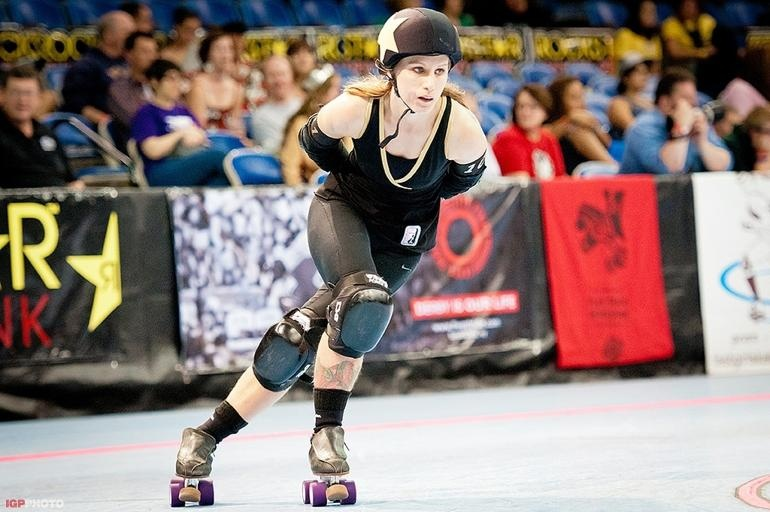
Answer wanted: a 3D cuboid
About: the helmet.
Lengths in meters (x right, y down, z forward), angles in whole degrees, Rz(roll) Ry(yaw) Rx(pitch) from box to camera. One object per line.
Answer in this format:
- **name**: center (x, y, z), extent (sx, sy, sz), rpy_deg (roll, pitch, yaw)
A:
- **helmet**: center (0.198, -1.367, 5.418), extent (0.505, 0.358, 0.152), rpy_deg (-7, 9, 1)
